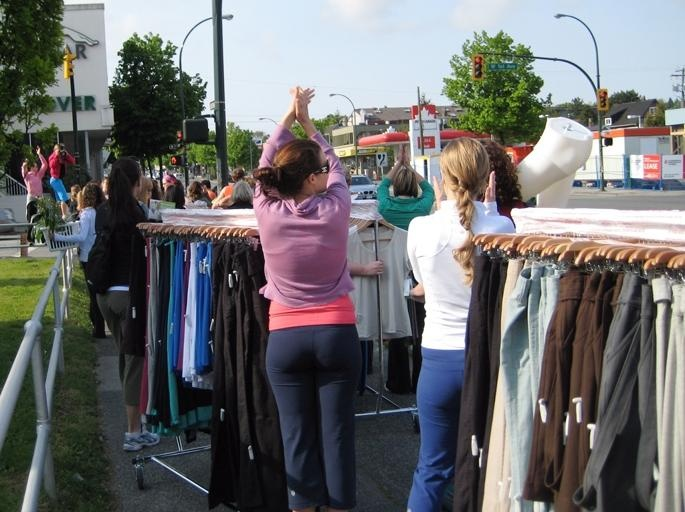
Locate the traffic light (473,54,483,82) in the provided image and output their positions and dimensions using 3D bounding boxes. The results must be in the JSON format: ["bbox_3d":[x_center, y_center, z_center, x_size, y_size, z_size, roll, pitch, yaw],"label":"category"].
[{"bbox_3d":[6.314,-8.898,32.534,0.384,1.098,0.601,5,10,25],"label":"traffic light"}]

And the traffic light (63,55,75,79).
[{"bbox_3d":[-7.751,-5.394,19.700,0.220,0.618,1.220,-3,11,-20],"label":"traffic light"}]

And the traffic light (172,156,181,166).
[{"bbox_3d":[-6.075,-3.484,25.426,0.292,0.483,0.435,1,-4,-18],"label":"traffic light"}]

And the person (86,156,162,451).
[{"bbox_3d":[-1.838,0.455,5.829,0.524,2.485,0.895,-3,9,-22],"label":"person"}]

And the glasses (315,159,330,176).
[{"bbox_3d":[-0.121,-0.523,4.136,0.024,0.095,0.083,16,15,26],"label":"glasses"}]
